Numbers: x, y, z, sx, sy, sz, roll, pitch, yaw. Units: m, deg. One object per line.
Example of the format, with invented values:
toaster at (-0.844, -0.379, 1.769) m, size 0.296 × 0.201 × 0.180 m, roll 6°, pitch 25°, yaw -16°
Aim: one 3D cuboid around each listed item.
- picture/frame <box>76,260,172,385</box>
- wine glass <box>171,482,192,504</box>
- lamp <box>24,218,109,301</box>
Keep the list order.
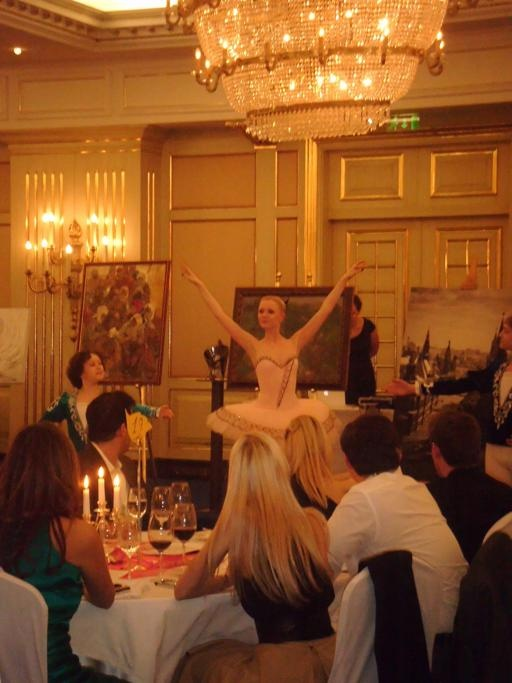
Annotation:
picture/frame at (-1.224, -0.176, 5.685) m, size 1.022 × 1.560 × 0.093 m, roll -2°, pitch -7°, yaw 29°
wine glass at (-0.244, 0.491, 2.029) m, size 0.073 × 0.085 × 0.076 m, roll 5°, pitch -10°, yaw -35°
lamp at (-2.141, -0.846, 7.096) m, size 0.932 × 1.157 × 0.902 m, roll 2°, pitch 7°, yaw -19°
